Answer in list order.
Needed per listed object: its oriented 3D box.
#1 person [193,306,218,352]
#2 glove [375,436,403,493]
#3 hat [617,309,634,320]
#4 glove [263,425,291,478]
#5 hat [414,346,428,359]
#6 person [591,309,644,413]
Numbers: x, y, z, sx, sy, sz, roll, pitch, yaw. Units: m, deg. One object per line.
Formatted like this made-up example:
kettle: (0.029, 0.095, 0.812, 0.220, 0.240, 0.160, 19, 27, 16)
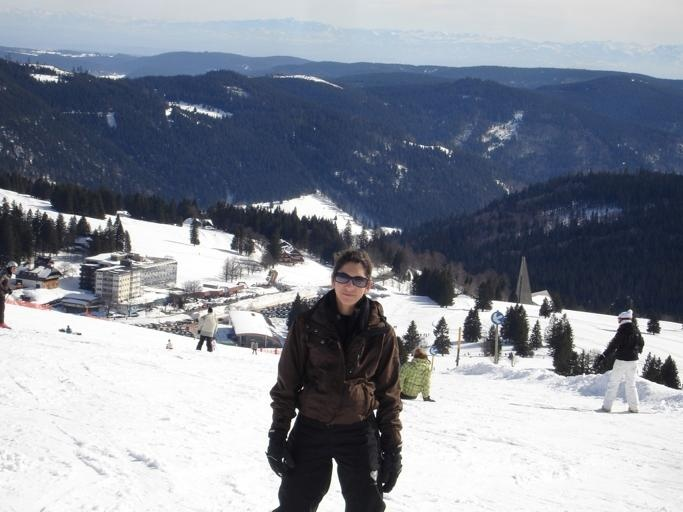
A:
person: (-4.405, 2.346, 27.287, 0.586, 1.488, 2.397, 6, 0, -9)
glove: (0.947, 4.190, 16.782, 0.542, 0.982, 0.386, 6, -5, -2)
hat: (7.591, 1.564, 22.111, 0.256, 0.259, 0.394, 4, 4, 28)
glove: (-1.260, 3.887, 16.583, 0.588, 0.885, 0.318, 9, -16, -21)
hat: (2.168, 2.669, 22.673, 0.261, 0.328, 0.311, -4, -27, 11)
person: (7.505, 2.829, 22.239, 1.002, 2.625, 1.351, 5, -1, 39)
